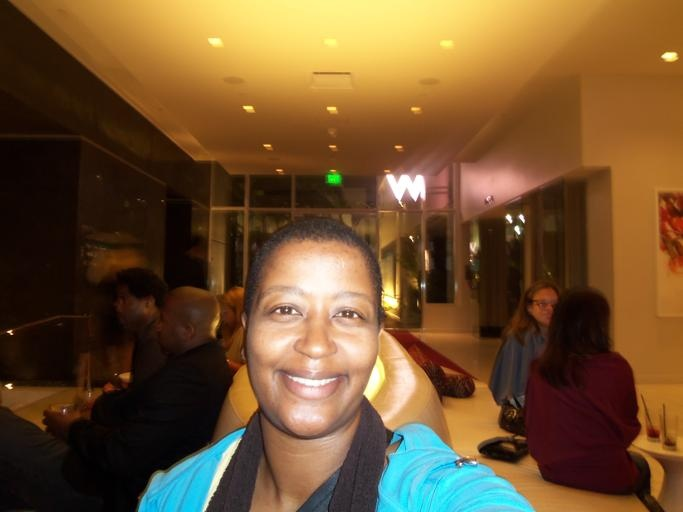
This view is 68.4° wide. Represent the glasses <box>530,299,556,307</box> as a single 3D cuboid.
[{"bbox_3d":[1.813,0.432,4.528,0.129,0.043,0.139,-3,-19,15],"label":"glasses"}]

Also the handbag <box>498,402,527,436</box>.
[{"bbox_3d":[1.528,1.477,4.528,0.154,0.250,0.234,15,-15,-34],"label":"handbag"}]

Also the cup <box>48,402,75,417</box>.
[{"bbox_3d":[-1.675,0.921,2.991,0.075,0.060,0.075,1,-8,0],"label":"cup"}]

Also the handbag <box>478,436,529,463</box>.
[{"bbox_3d":[1.254,1.508,3.908,0.231,0.067,0.239,-2,-6,-3],"label":"handbag"}]
